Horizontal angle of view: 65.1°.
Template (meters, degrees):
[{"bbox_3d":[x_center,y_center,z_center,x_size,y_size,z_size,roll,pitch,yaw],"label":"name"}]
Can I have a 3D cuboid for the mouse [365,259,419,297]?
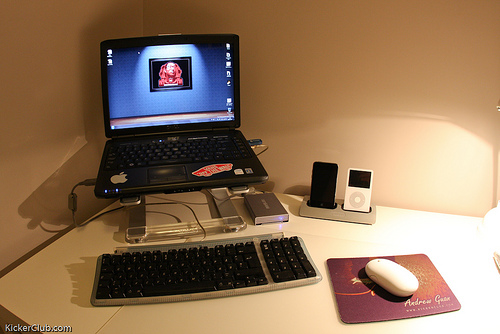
[{"bbox_3d":[0.417,0.316,1.151,0.096,0.155,0.050,-14,-60,-33],"label":"mouse"}]

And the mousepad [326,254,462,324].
[{"bbox_3d":[0.361,0.355,1.128,0.256,0.167,0.012,-6,-51,-7],"label":"mousepad"}]

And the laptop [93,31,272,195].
[{"bbox_3d":[-0.252,-0.184,1.280,0.524,0.429,0.333,-6,-50,-11],"label":"laptop"}]

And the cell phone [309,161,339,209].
[{"bbox_3d":[0.272,0.073,1.455,0.093,0.165,0.018,9,-15,-5],"label":"cell phone"}]
